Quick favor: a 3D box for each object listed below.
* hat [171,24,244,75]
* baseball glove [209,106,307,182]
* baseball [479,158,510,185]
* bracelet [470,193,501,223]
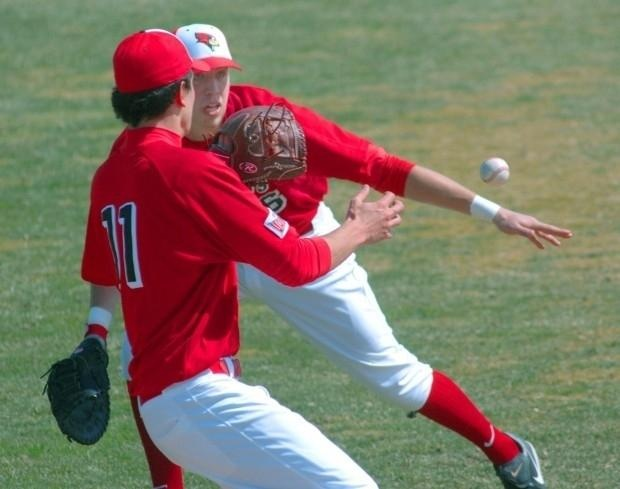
[{"bbox_3d":[-0.771,-1.473,9.348,0.325,0.236,0.493,-21,40,-38],"label":"hat"},{"bbox_3d":[-0.305,-0.667,8.829,0.651,0.458,0.493,-27,26,14],"label":"baseball glove"},{"bbox_3d":[1.412,-0.563,9.728,0.216,0.194,0.209,-19,16,-31],"label":"baseball"},{"bbox_3d":[1.267,-0.266,9.412,0.215,0.164,0.164,38,34,-25],"label":"bracelet"}]
